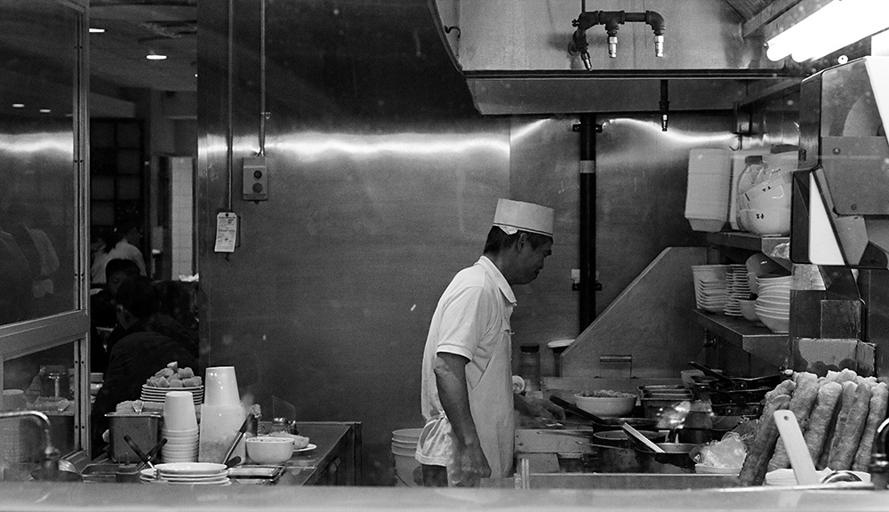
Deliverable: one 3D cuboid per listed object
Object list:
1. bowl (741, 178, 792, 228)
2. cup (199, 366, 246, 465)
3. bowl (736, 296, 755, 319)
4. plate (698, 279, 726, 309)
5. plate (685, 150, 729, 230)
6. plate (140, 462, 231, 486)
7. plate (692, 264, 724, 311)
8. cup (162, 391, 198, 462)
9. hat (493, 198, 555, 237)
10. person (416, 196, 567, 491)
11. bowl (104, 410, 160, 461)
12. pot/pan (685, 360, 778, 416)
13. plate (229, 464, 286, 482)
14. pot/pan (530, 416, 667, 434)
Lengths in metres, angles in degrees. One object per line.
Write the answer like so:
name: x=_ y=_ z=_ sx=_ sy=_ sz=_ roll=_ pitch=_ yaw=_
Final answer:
bowl: x=1.552 y=-0.233 z=4.505 sx=0.125 sy=0.267 sz=0.374 roll=1 pitch=-2 yaw=-19
cup: x=-1.075 y=0.771 z=4.507 sx=0.227 sy=0.444 sz=0.160 roll=1 pitch=-2 yaw=-14
bowl: x=1.599 y=0.286 z=4.896 sx=0.103 sy=0.072 sz=0.100 roll=0 pitch=-2 yaw=0
plate: x=1.538 y=0.227 z=5.354 sx=0.172 sy=0.109 sz=0.129 roll=0 pitch=2 yaw=-5
plate: x=1.497 y=-0.376 z=5.258 sx=0.248 sy=0.474 sz=0.212 roll=0 pitch=-2 yaw=12
plate: x=-1.193 y=0.989 z=4.193 sx=0.461 sy=0.079 sz=0.240 roll=0 pitch=-1 yaw=10
plate: x=1.477 y=0.189 z=5.386 sx=0.249 sy=0.250 sz=0.232 roll=0 pitch=-2 yaw=-7
cup: x=-1.307 y=0.841 z=4.578 sx=0.171 sy=0.338 sz=0.130 roll=-1 pitch=-2 yaw=31
hat: x=0.416 y=-0.180 z=4.772 sx=0.267 sy=0.124 sz=0.191 roll=12 pitch=-11 yaw=-12
person: x=0.210 y=0.433 z=4.665 sx=0.675 sy=1.449 sz=0.503 roll=1 pitch=-2 yaw=-5
bowl: x=-1.590 y=0.916 z=4.674 sx=0.320 sy=0.206 sz=0.175 roll=-1 pitch=-12 yaw=-16
pot/pan: x=1.495 y=0.690 z=4.768 sx=0.396 sy=0.128 sz=0.251 roll=-1 pitch=3 yaw=5
plate: x=-0.890 y=1.019 z=4.393 sx=0.235 sy=0.061 sz=0.223 roll=0 pitch=-1 yaw=-4
pot/pan: x=0.768 y=0.921 z=5.088 sx=0.428 sy=0.053 sz=0.220 roll=0 pitch=-4 yaw=0
